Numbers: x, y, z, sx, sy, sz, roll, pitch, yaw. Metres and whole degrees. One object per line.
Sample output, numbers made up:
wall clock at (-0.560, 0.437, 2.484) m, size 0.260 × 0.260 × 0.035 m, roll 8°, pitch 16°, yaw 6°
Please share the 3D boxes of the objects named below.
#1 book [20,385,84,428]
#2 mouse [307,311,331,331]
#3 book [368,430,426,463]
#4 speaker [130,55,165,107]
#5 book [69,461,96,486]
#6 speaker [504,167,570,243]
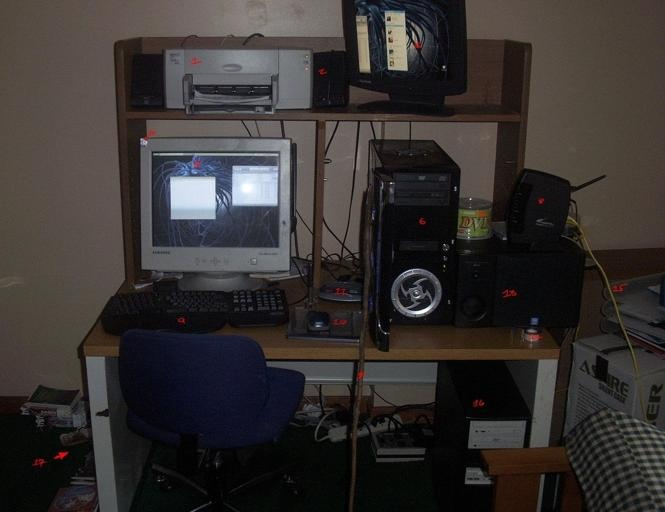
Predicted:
book at (-1.309, 0.720, 2.850) m, size 0.226 × 0.083 × 0.179 m, roll 4°, pitch 6°, yaw -40°
mouse at (-0.048, 0.232, 2.142) m, size 0.052 × 0.028 × 0.075 m, roll 0°, pitch 33°, yaw -1°
book at (0.296, 0.860, 2.729) m, size 0.140 × 0.049 × 0.147 m, roll 1°, pitch 10°, yaw -3°
speaker at (-0.713, -0.673, 2.320) m, size 0.124 × 0.209 × 0.093 m, roll -3°, pitch 9°, yaw -12°
book at (-1.044, 0.918, 2.540) m, size 0.089 × 0.032 × 0.067 m, roll 3°, pitch 13°, yaw -3°
speaker at (0.705, -0.191, 2.174) m, size 0.274 × 0.316 × 0.177 m, roll 2°, pitch 19°, yaw 7°
